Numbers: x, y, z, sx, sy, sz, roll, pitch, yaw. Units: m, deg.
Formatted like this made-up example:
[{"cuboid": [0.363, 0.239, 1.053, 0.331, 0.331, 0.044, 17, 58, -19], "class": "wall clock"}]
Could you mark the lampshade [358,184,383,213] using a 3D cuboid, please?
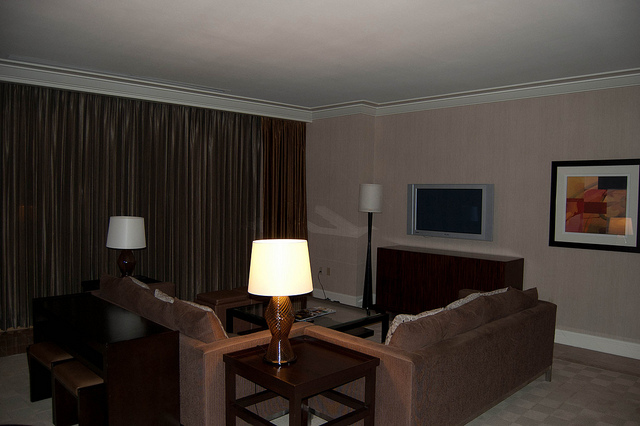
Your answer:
[{"cuboid": [0.767, -0.217, 6.451, 0.382, 0.413, 0.384, 3, 2, 34], "class": "lampshade"}]

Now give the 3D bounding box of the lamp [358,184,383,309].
[{"cuboid": [0.753, 0.557, 6.696, 0.381, 1.938, 0.377, -2, 8, -21], "class": "lamp"}]

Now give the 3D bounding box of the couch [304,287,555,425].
[{"cuboid": [0.954, 0.694, 3.768, 2.292, 1.014, 1.003, -3, 7, -43], "class": "couch"}]

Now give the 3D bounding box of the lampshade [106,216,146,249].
[{"cuboid": [-2.298, 0.247, 5.159, 0.397, 0.392, 0.395, -1, 4, -30], "class": "lampshade"}]

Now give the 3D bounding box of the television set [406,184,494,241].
[{"cuboid": [1.890, -0.029, 6.405, 1.273, 0.774, 0.157, 4, 5, 40], "class": "television set"}]

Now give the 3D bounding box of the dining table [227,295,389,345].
[{"cuboid": [-0.289, 1.488, 5.792, 1.974, 0.486, 2.074, -2, -17, -1], "class": "dining table"}]
